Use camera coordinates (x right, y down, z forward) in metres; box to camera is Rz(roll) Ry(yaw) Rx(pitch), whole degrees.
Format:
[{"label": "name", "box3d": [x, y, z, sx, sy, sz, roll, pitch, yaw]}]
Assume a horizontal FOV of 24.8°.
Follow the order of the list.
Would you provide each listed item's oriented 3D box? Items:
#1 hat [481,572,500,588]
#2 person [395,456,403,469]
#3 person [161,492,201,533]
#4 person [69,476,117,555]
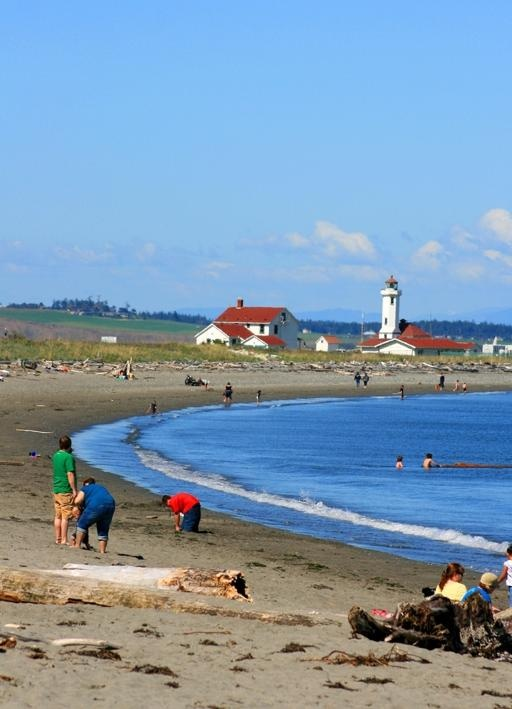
[{"label": "hat", "box3d": [2.925, 2.843, 14.640, 0.172, 0.135, 0.250, 8, 9, 20]}, {"label": "person", "box3d": [4.603, 3.482, 37.455, 0.316, 0.403, 0.778, 2, 0, 1]}, {"label": "person", "box3d": [-1.265, 2.852, 21.006, 0.480, 0.470, 0.879, 3, 1, 2]}, {"label": "person", "box3d": [-2.441, 2.442, 17.565, 0.594, 1.121, 0.960, 3, 1, -8]}]
